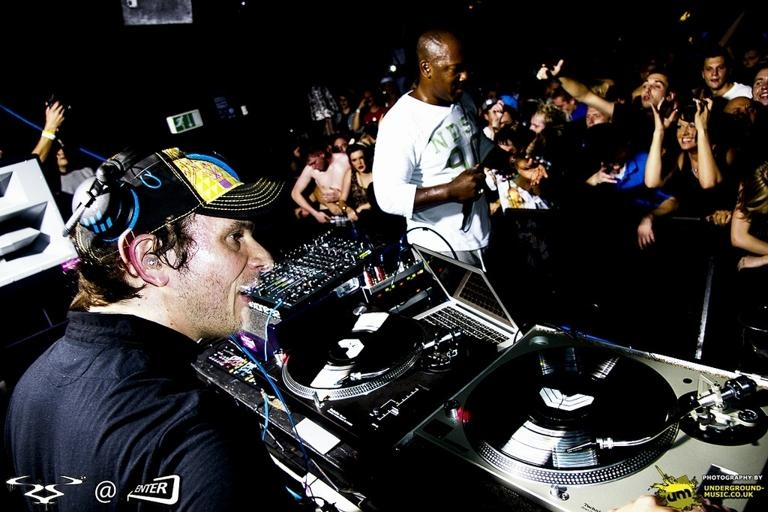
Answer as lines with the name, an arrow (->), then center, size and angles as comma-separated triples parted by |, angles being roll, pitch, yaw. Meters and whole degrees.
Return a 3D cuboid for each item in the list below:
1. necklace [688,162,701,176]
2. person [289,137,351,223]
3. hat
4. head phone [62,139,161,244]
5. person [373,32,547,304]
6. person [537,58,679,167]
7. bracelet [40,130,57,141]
necklace -> 2.356, -0.649, 4.396 | 0.019, 0.063, 0.073 | -4, 1, -9
person -> -0.604, -0.796, 6.162 | 0.840, 0.854, 0.439 | -15, 32, -7
hat -> -0.967, -0.256, 2.653 | 0.823, 0.359, 0.473 | -27, 15, -17
head phone -> -1.140, -0.255, 2.485 | 0.262, 0.398, 0.198 | 42, 5, 14
person -> 0.351, -0.566, 3.941 | 0.856, 1.790, 0.707 | -8, 31, -6
person -> 1.847, -1.382, 5.256 | 1.309, 0.697, 2.665 | 12, 19, 26
bracelet -> -2.638, -0.949, 4.551 | 0.077, 0.047, 0.069 | -7, 29, -22
